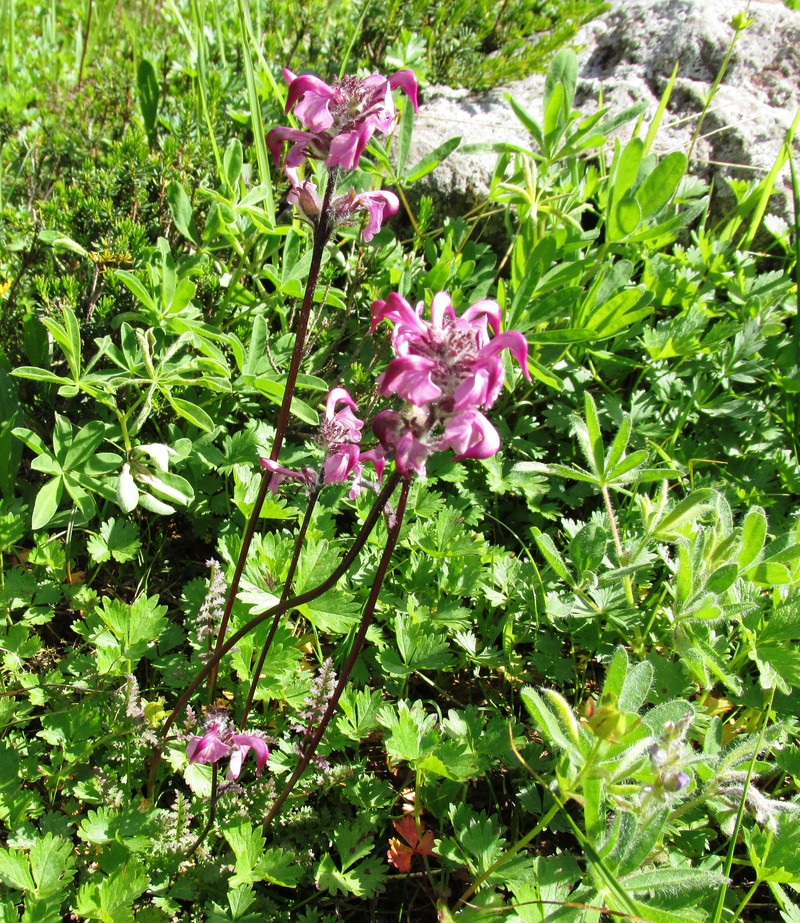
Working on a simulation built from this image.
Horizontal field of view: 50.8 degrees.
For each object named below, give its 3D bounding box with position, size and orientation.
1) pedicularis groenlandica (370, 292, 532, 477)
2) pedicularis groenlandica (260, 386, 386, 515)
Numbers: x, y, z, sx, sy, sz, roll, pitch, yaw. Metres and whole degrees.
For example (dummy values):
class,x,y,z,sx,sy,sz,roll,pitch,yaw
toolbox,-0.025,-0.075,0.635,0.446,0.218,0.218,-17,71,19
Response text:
class,x,y,z,sx,sy,sz,roll,pitch,yaw
pedicularis groenlandica,0.068,-0.180,1.791,0.400,0.328,0.316,12,36,0
pedicularis groenlandica,-0.128,-0.017,2.012,0.310,0.212,0.281,18,45,19
